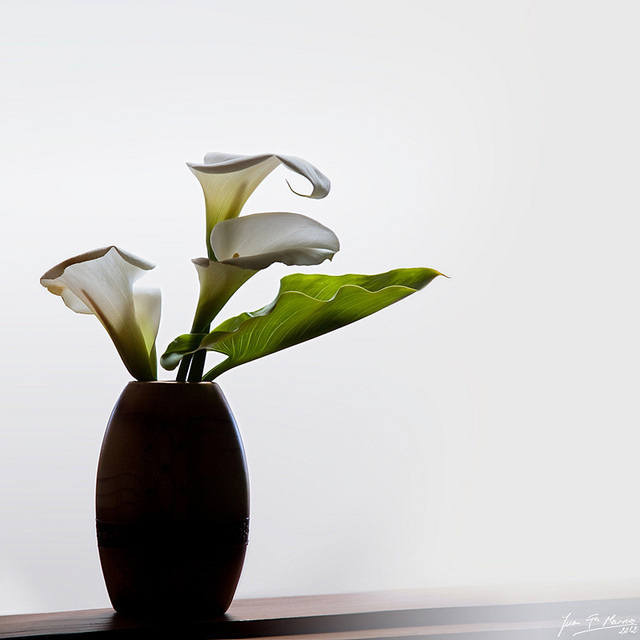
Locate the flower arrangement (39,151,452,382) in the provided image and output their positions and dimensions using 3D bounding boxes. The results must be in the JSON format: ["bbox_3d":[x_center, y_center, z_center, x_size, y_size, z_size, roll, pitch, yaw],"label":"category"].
[{"bbox_3d":[-0.112,-0.036,0.844,0.470,0.224,0.320,1,-9,-10],"label":"flower arrangement"}]

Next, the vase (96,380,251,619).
[{"bbox_3d":[-0.119,0.177,0.857,0.201,0.210,0.171,-3,-5,5],"label":"vase"}]
